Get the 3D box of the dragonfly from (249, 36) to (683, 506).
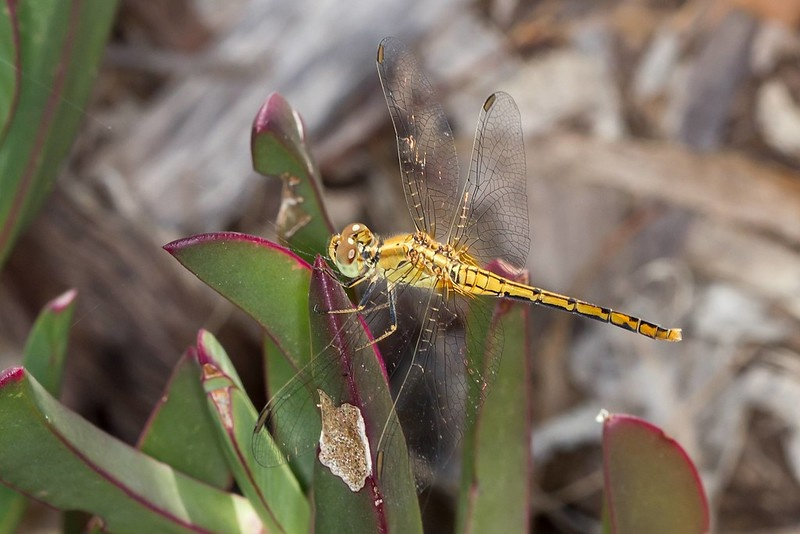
[{"bbox_3d":[0.073,0.019,1.258,0.508,0.637,0.213,23,-13,-36],"label":"dragonfly"}]
